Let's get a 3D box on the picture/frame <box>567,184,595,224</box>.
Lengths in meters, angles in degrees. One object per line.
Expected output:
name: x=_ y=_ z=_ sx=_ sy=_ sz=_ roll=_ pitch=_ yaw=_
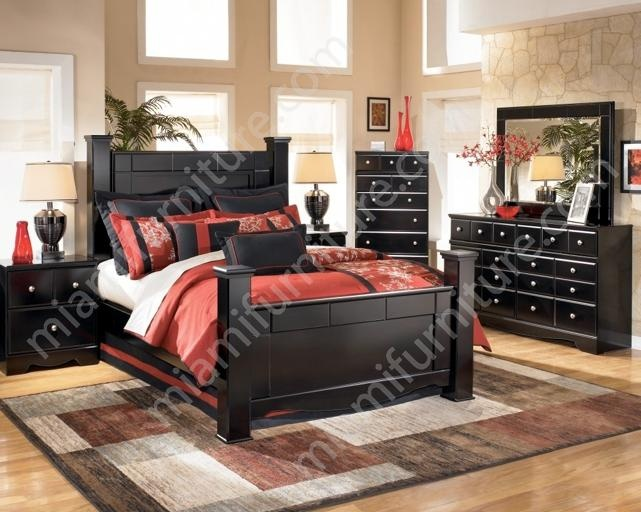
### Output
picture/frame: x=2.172 y=-0.449 z=4.319 sx=0.197 sy=0.373 sz=0.395 roll=2 pitch=3 yaw=31

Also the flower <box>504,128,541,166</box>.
flower: x=1.940 y=-1.037 z=5.010 sx=0.357 sy=0.356 sz=0.382 roll=3 pitch=4 yaw=42

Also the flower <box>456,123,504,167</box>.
flower: x=1.720 y=-1.111 z=5.331 sx=0.537 sy=0.281 sz=0.426 roll=-10 pitch=5 yaw=22

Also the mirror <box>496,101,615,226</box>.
mirror: x=2.140 y=-0.823 z=4.622 sx=0.107 sy=1.190 sz=1.454 roll=-1 pitch=2 yaw=-37

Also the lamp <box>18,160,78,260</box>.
lamp: x=-2.062 y=-0.335 z=3.983 sx=0.509 sy=0.678 sz=0.468 roll=1 pitch=0 yaw=-28

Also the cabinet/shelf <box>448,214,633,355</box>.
cabinet/shelf: x=1.858 y=0.247 z=4.196 sx=0.489 sy=0.731 sz=1.313 roll=-2 pitch=5 yaw=-33

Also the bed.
bed: x=-0.448 y=0.273 z=3.708 sx=2.336 sy=1.329 sz=2.328 roll=-4 pitch=7 yaw=-32
